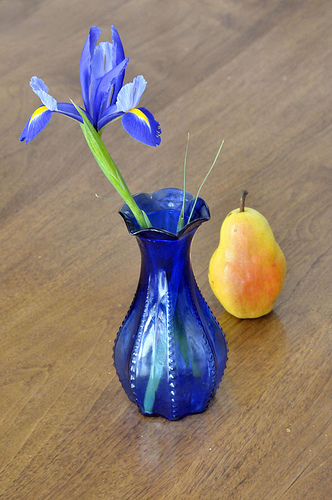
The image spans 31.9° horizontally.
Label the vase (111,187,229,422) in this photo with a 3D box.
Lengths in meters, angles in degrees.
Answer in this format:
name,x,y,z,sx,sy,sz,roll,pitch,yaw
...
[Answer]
name,x,y,z,sx,sy,sz,roll,pitch,yaw
vase,0.015,0.050,0.569,0.121,0.202,0.103,-14,32,-18
